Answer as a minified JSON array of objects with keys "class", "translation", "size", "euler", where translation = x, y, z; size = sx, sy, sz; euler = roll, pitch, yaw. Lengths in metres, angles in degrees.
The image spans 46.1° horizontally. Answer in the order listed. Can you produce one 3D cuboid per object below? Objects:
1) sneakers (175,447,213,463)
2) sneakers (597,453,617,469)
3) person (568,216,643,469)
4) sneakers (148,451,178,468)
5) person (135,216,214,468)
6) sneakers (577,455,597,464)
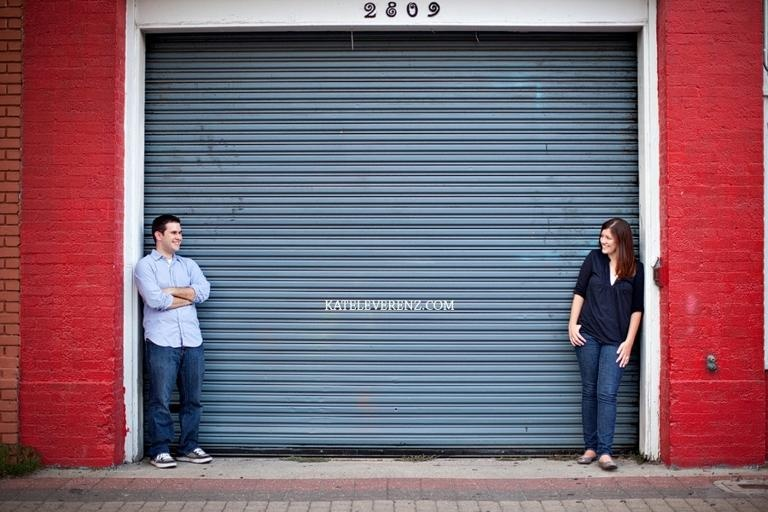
[{"class":"sneakers","translation":[-2.139,2.261,10.269],"size":[0.477,0.138,0.149],"euler":[0,-7,8]},{"class":"sneakers","translation":[2.468,2.285,9.979],"size":[0.115,0.098,0.267],"euler":[-2,-12,-3]},{"class":"person","translation":[2.478,0.961,10.094],"size":[0.596,2.757,0.519],"euler":[4,5,45]},{"class":"sneakers","translation":[-2.426,2.273,10.025],"size":[0.356,0.108,0.126],"euler":[-5,-10,30]},{"class":"person","translation":[-2.354,0.940,10.105],"size":[0.810,2.797,0.385],"euler":[0,3,-16]},{"class":"sneakers","translation":[2.253,2.266,10.118],"size":[0.275,0.088,0.089],"euler":[6,-15,-25]}]
